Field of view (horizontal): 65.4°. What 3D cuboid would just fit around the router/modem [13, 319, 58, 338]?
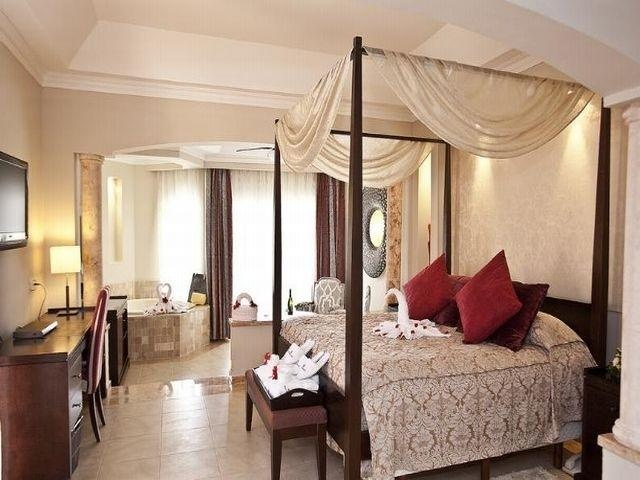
[{"bbox_3d":[-2.384,0.753,4.209,0.151,0.057,0.277,1,3,-4],"label":"router/modem"}]

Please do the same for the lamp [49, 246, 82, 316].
[{"bbox_3d":[-2.543,0.393,5.005,0.281,0.678,0.448,-1,3,-29],"label":"lamp"}]

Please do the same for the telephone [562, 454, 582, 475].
[{"bbox_3d":[1.944,1.700,3.860,0.140,0.060,0.192,-11,-11,1],"label":"telephone"}]

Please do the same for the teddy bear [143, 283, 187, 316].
[{"bbox_3d":[-2.299,0.948,7.550,0.490,0.341,0.521,1,5,13],"label":"teddy bear"}]

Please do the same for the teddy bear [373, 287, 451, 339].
[{"bbox_3d":[0.781,0.624,4.272,0.614,0.412,0.554,3,4,17],"label":"teddy bear"}]

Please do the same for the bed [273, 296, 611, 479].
[{"bbox_3d":[0.976,1.073,3.757,1.270,0.587,1.368,-1,2,-16],"label":"bed"}]

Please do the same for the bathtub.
[{"bbox_3d":[-2.167,1.339,7.300,1.251,0.657,0.673,-2,3,-34],"label":"bathtub"}]

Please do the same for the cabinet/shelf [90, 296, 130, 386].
[{"bbox_3d":[-2.191,1.055,5.208,0.326,0.728,1.070,-1,3,-13],"label":"cabinet/shelf"}]
